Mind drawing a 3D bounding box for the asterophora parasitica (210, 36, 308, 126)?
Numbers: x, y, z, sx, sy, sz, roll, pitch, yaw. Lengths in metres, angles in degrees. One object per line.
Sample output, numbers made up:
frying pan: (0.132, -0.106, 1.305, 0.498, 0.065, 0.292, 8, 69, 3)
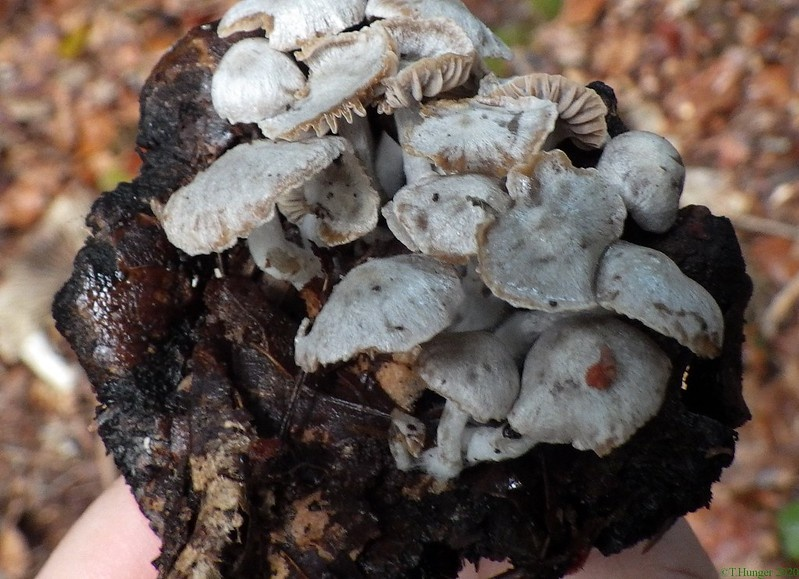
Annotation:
asterophora parasitica: (-0.917, -1.367, 7.151, 0.580, 0.159, 0.571, -37, 75, -3)

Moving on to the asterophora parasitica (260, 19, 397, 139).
asterophora parasitica: (-0.448, -1.366, 6.987, 0.648, 0.246, 1.034, 34, 81, 11)
